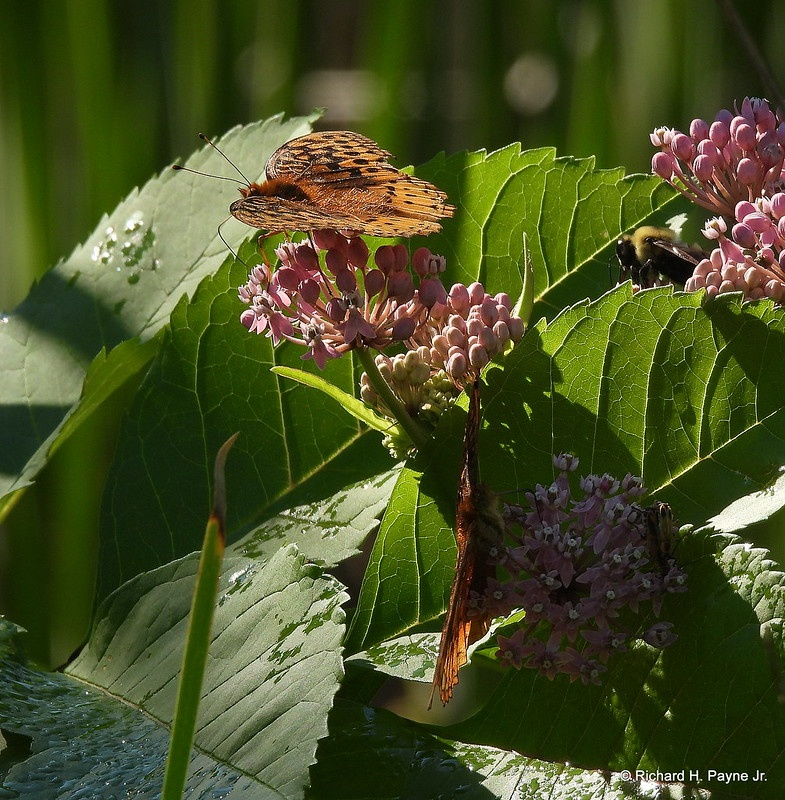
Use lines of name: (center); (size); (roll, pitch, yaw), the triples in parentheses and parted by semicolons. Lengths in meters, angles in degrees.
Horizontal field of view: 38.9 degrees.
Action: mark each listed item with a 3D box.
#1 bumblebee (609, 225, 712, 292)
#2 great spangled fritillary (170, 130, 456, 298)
bumblebee: (0.415, -0.236, 1.718); (0.104, 0.063, 0.149); (-31, 27, -21)
great spangled fritillary: (-0.078, -0.302, 1.699); (0.313, 0.218, 0.297); (-3, 15, -12)
